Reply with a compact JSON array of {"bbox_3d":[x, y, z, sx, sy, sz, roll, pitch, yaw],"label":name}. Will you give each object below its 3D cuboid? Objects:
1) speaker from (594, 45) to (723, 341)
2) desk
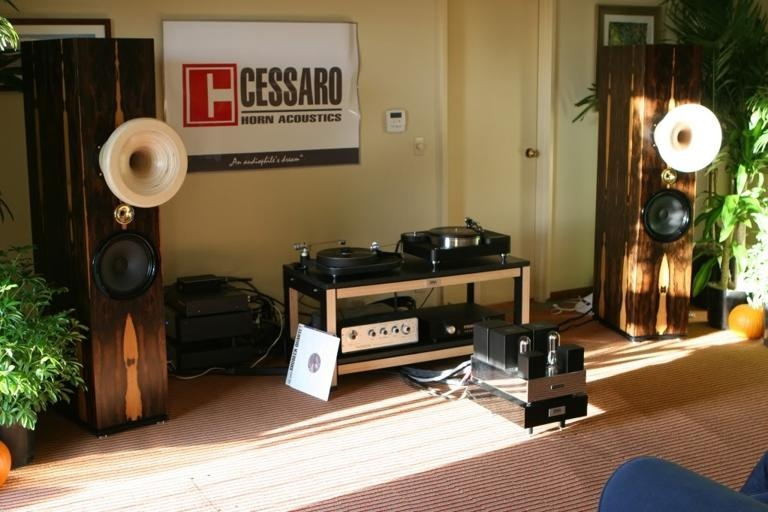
[{"bbox_3d":[1.757,-0.426,4.037,0.635,1.975,0.467,2,14,26],"label":"speaker"},{"bbox_3d":[0.310,0.402,3.739,1.328,0.622,0.686,-6,-5,9],"label":"desk"}]
